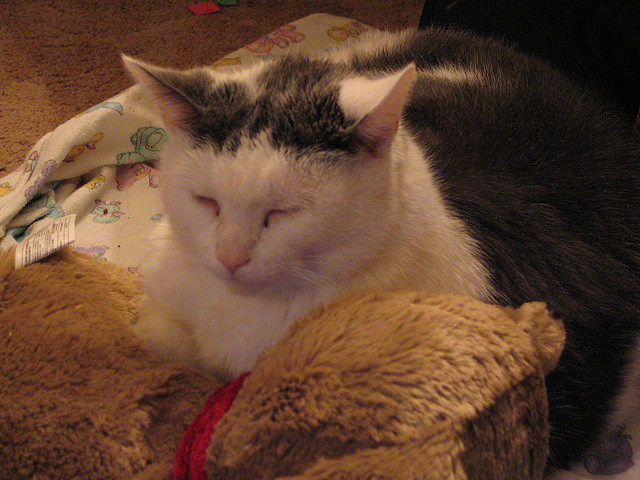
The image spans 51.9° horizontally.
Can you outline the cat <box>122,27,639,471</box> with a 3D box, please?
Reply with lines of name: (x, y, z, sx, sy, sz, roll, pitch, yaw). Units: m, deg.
cat: (0.166, -0.066, 1.027, 0.670, 0.332, 0.718, 16, 39, 28)
